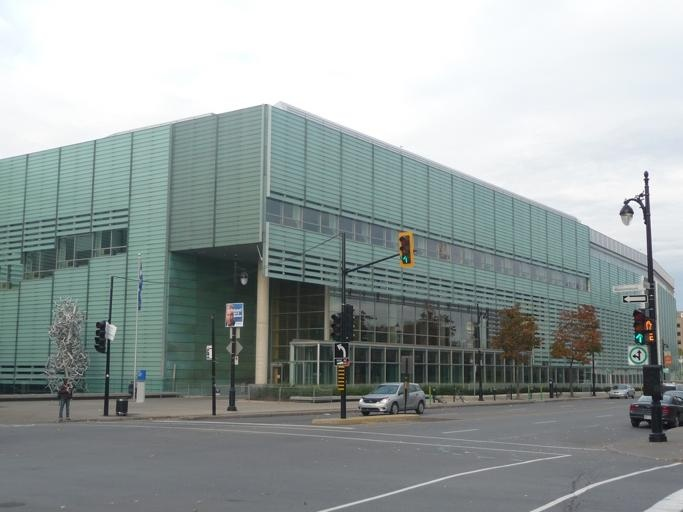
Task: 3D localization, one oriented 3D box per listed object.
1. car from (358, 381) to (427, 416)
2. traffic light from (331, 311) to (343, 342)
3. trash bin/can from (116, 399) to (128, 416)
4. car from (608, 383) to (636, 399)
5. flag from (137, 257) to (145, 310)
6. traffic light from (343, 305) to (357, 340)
[{"bbox_3d":[2.915,7.988,41.648,1.901,1.795,4.270,-9,-15,31],"label":"car"},{"bbox_3d":[-0.191,3.432,35.750,0.522,1.367,0.701,1,-13,-5],"label":"traffic light"},{"bbox_3d":[-10.813,7.482,36.655,0.498,0.831,0.596,3,-13,-15],"label":"trash bin/can"},{"bbox_3d":[27.858,13.344,73.120,1.400,1.011,3.138,-8,-15,32],"label":"car"},{"bbox_3d":[-15.401,2.176,57.014,0.469,3.979,1.582,3,-13,-14],"label":"flag"},{"bbox_3d":[0.363,3.180,35.677,0.433,1.804,0.874,-2,-13,7],"label":"traffic light"}]
